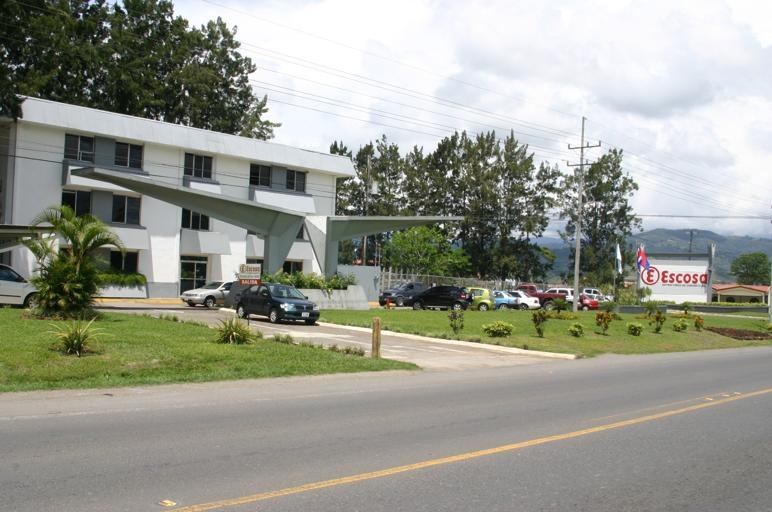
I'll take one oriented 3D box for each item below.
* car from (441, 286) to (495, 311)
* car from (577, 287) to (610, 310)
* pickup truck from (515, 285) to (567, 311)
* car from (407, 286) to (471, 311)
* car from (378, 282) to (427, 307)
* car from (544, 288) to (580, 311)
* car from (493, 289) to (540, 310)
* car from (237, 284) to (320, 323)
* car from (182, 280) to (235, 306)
[{"bbox_3d":[6.582,2.985,48.904,2.962,1.551,1.816,5,-4,-8],"label":"car"},{"bbox_3d":[18.172,3.758,57.746,3.282,1.757,1.822,-4,4,-7],"label":"car"},{"bbox_3d":[13.533,3.292,55.686,3.500,1.561,1.767,5,-3,6],"label":"pickup truck"},{"bbox_3d":[4.041,3.047,48.216,3.550,1.616,1.819,3,-2,17],"label":"car"},{"bbox_3d":[1.237,2.990,54.137,3.286,1.623,1.907,2,-5,-30],"label":"car"},{"bbox_3d":[15.863,3.881,58.629,3.127,1.392,1.789,-1,0,20],"label":"car"},{"bbox_3d":[10.553,3.585,52.964,3.416,1.226,1.577,5,-2,-4],"label":"car"},{"bbox_3d":[-5.452,2.349,33.122,3.993,1.942,1.868,0,-4,33],"label":"car"},{"bbox_3d":[-11.294,2.322,41.656,1.558,1.117,3.307,-3,-5,43],"label":"car"}]
